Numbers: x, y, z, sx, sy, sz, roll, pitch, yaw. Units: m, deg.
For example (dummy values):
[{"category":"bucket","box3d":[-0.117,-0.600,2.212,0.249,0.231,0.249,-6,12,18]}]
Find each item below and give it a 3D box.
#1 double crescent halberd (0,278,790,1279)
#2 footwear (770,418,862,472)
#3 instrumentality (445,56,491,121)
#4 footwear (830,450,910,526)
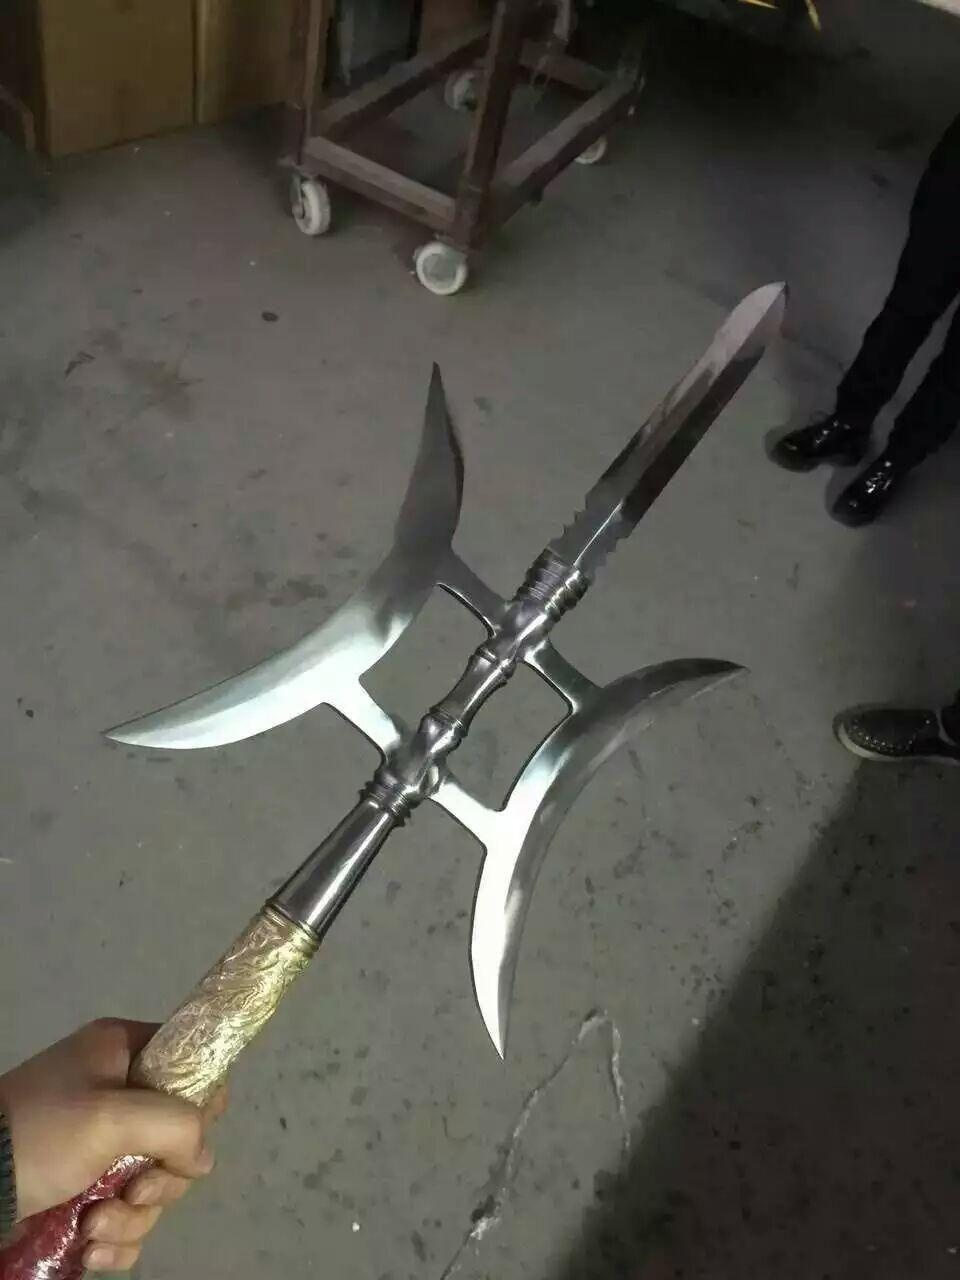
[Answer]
[{"category":"double crescent halberd","box3d":[-0.056,0.142,1.856,0.680,0.148,1.719,43,72,9]},{"category":"footwear","box3d":[0.602,-0.349,2.267,0.154,0.089,0.057,-1,5,8]},{"category":"instrumentality","box3d":[-0.037,-1.147,2.625,0.060,0.103,0.051,1,51,-17]},{"category":"footwear","box3d":[0.685,-0.253,2.215,0.040,0.148,0.105,33,20,-49]}]
